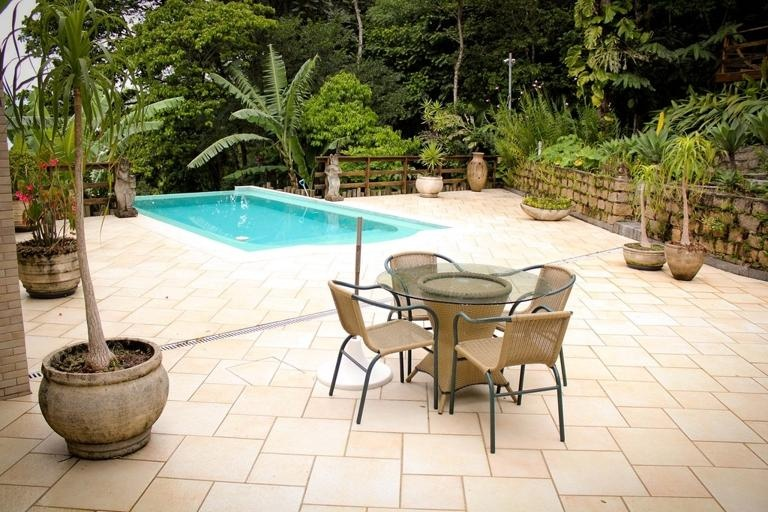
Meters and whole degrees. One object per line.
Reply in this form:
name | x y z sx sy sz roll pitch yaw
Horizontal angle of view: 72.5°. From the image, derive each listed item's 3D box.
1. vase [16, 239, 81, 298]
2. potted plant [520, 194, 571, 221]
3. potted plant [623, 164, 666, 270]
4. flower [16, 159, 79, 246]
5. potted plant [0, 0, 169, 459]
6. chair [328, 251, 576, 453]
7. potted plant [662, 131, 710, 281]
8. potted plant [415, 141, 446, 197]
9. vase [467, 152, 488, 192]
vase | -4.429 0.173 6.937 0.787 0.696 0.771 -3 5 -29
potted plant | 3.838 -1.128 12.311 0.869 0.366 0.873 9 17 26
potted plant | 4.606 -0.764 9.003 0.626 1.604 2.249 7 17 28
flower | -4.444 -0.704 6.758 0.678 1.203 0.709 3 6 -4
potted plant | -2.194 -0.115 3.738 0.892 3.266 0.685 -10 17 -28
chair | 0.685 0.760 4.708 1.892 1.157 1.575 4 16 20
potted plant | 4.926 -0.893 8.545 0.762 2.113 2.298 7 17 28
potted plant | 1.661 -2.914 17.082 0.966 1.857 0.977 -5 18 -9
vase | 3.204 -2.872 17.902 0.635 1.264 0.693 0 15 8
